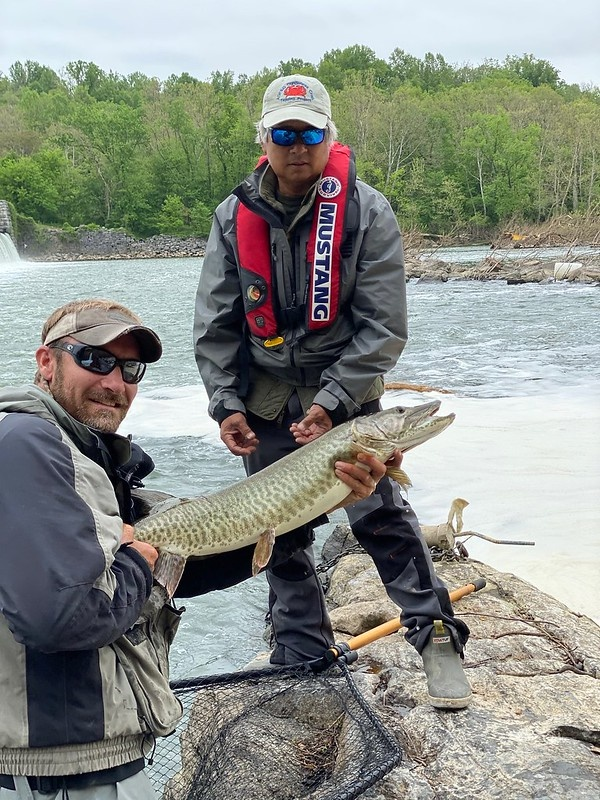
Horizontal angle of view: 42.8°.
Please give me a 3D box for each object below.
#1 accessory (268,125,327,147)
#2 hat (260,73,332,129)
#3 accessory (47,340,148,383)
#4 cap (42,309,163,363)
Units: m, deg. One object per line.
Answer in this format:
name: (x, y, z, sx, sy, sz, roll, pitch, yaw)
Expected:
accessory: (-0.011, -1.241, 3.621, 0.247, 0.063, 0.046, -4, 3, -6)
hat: (-0.020, -1.472, 3.765, 0.351, 0.216, 0.473, 0, 26, 0)
accessory: (-0.681, -0.150, 2.579, 0.194, 0.048, 0.185, 14, -2, 31)
cap: (-0.714, -0.254, 2.692, 0.395, 0.110, 0.258, 1, 7, 34)
